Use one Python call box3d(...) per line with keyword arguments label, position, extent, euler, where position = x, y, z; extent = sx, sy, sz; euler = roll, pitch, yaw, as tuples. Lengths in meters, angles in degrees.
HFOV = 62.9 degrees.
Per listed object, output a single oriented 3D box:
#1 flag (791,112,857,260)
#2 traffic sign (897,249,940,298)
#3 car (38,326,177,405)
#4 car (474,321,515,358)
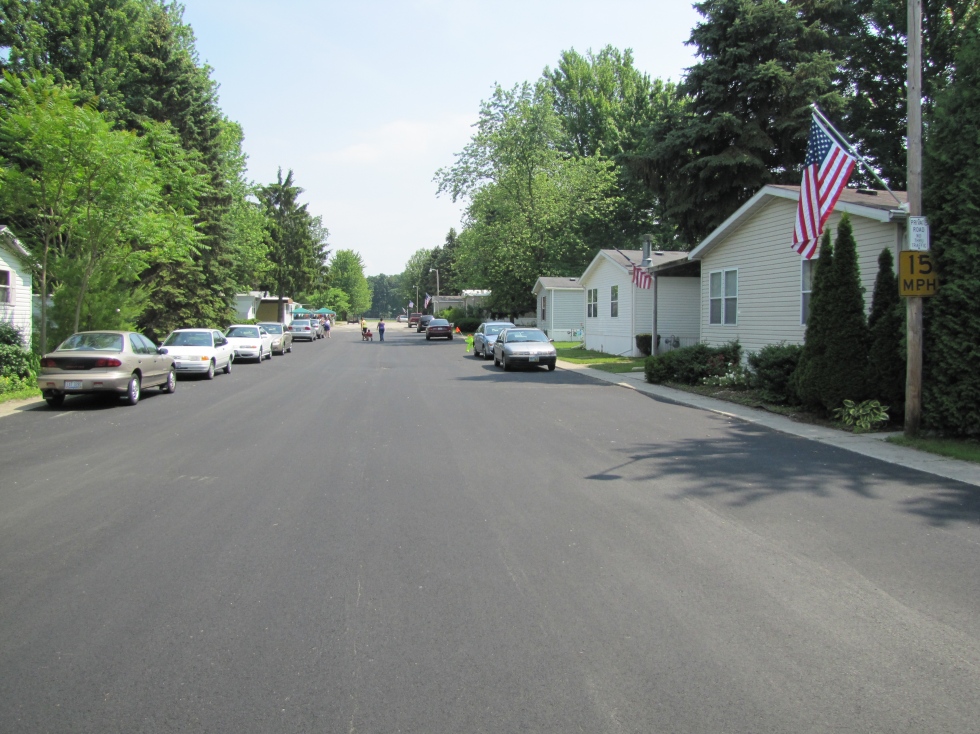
box3d(label="flag", position=(7.458, -4.135, 17.973), extent=(1.095, 3.400, 2.897), euler=(3, 7, 21))
box3d(label="traffic sign", position=(7.235, -1.579, 13.503), extent=(0.641, 1.040, 0.108), euler=(1, 1, 6))
box3d(label="car", position=(-8.749, -0.019, 18.607), extent=(1.670, 1.624, 2.907), euler=(1, 8, 9))
box3d(label="car", position=(0.032, -1.359, 36.469), extent=(0.959, 1.090, 2.293), euler=(0, -1, -10))
